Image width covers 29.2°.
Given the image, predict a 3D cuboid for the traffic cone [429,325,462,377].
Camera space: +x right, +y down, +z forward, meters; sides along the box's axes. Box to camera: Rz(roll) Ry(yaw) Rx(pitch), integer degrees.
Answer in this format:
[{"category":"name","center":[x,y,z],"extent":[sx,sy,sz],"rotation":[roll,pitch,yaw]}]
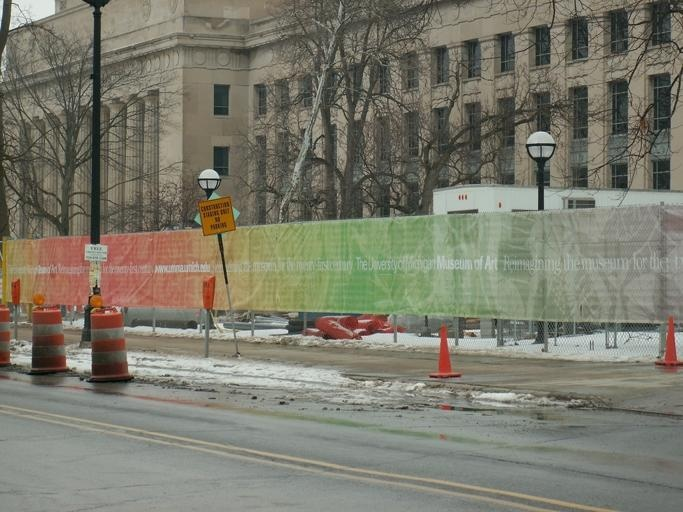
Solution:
[{"category":"traffic cone","center":[2.112,1.932,26.711],"extent":[0.829,1.047,0.838],"rotation":[-3,1,27]}]
